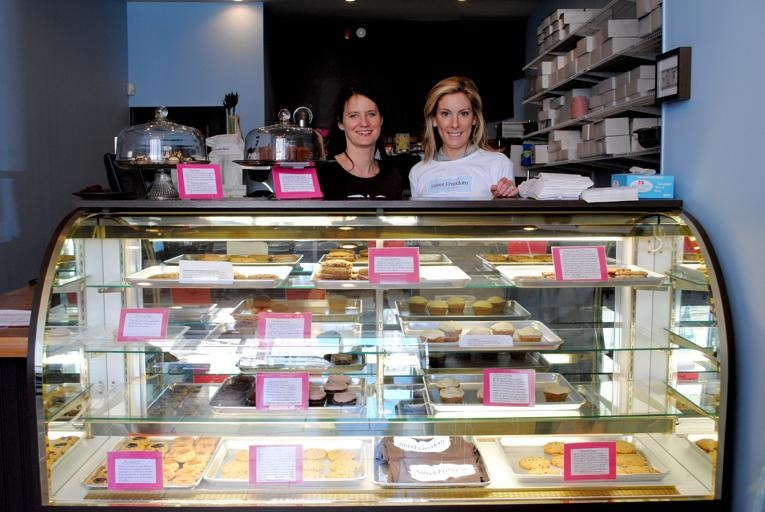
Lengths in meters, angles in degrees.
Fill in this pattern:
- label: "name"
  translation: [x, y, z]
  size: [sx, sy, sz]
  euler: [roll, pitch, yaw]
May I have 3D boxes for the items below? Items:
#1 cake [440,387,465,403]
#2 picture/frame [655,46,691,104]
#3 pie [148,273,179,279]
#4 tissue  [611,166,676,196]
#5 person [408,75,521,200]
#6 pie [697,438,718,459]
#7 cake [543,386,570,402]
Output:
- label: "cake"
  translation: [0.311, 0.633, 2.669]
  size: [0.091, 0.026, 0.081]
  euler: [0, 1, 3]
- label: "picture/frame"
  translation: [1.313, -0.820, 2.672]
  size: [0.068, 0.229, 0.159]
  euler: [-4, 9, -11]
- label: "pie"
  translation: [-0.976, 0.089, 2.629]
  size: [0.097, 0.021, 0.046]
  euler: [5, 10, 2]
- label: "tissue "
  translation: [1.159, -0.315, 2.634]
  size: [0.254, 0.117, 0.173]
  euler: [1, 8, 18]
- label: "person"
  translation: [0.411, -0.719, 3.492]
  size: [0.661, 0.734, 0.950]
  euler: [0, 8, 13]
- label: "pie"
  translation: [1.393, 0.822, 2.522]
  size: [0.085, 0.021, 0.075]
  euler: [-19, 21, 20]
- label: "cake"
  translation: [0.785, 0.625, 2.675]
  size: [0.071, 0.033, 0.082]
  euler: [2, 2, 19]
